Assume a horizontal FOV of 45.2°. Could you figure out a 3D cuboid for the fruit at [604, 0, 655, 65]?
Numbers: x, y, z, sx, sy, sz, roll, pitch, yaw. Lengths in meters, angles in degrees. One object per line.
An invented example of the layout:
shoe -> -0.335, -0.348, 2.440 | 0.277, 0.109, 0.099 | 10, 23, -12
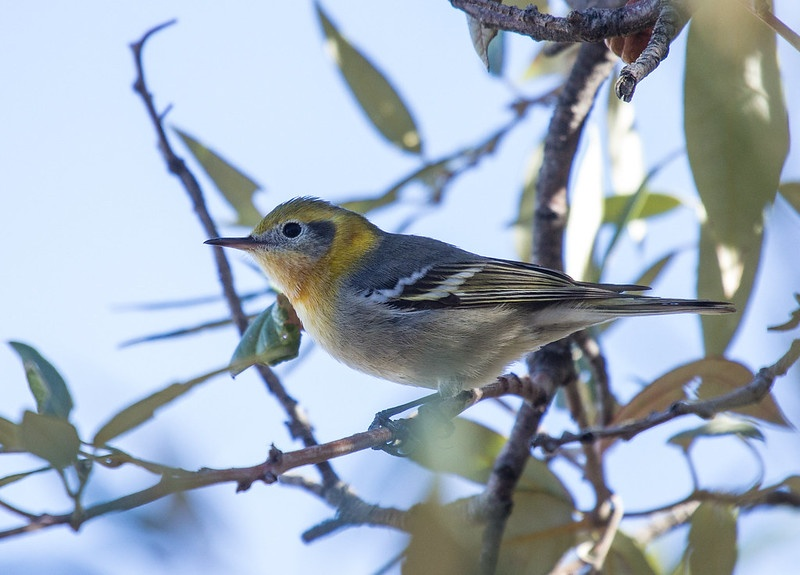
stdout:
fruit -> 0.933, -0.985, 3.907 | 0.096, 0.206, 0.277 | 28, -109, -8
